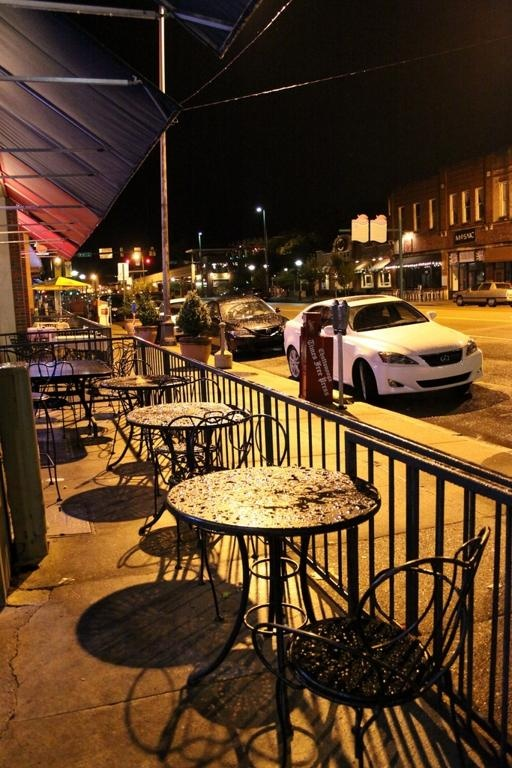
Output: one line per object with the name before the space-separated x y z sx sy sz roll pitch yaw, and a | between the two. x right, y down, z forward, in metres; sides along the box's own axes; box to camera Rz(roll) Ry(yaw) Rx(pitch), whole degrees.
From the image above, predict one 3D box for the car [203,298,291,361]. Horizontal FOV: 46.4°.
car | -0.187 -1.736 17.747 1.235 0.953 2.956 -7 13 -18
